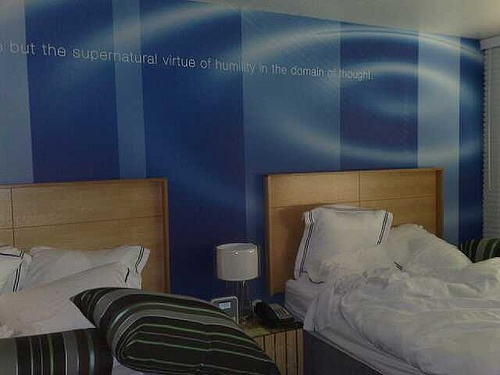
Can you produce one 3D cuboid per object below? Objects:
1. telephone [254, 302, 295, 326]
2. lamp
[{"bbox_3d":[0.202,1.053,3.670,0.213,0.133,0.391,6,1,-28],"label":"telephone"},{"bbox_3d":[-0.096,0.762,3.533,0.511,0.830,0.538,0,-1,-3],"label":"lamp"}]
